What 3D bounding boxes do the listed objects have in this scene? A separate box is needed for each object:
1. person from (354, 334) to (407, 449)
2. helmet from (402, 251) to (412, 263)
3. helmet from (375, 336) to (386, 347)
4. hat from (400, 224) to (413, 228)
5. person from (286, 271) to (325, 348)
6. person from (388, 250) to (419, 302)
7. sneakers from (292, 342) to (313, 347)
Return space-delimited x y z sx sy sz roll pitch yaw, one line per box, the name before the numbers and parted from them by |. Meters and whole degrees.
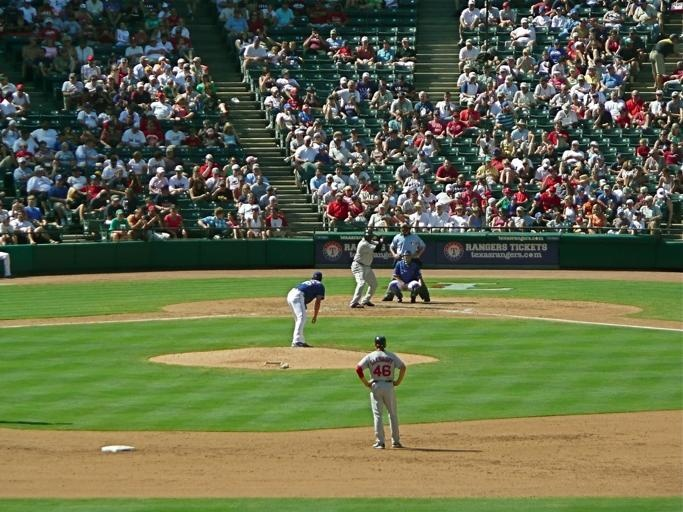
person | 0.968 2.984 38.132 1.016 2.443 0.788 -4 9 -8
helmet | 2.042 0.046 49.625 0.290 0.248 0.381 4 10 37
helmet | 0.952 1.898 37.935 0.194 0.210 0.233 2 -16 -4
hat | 2.053 -0.879 51.892 0.297 0.175 0.346 1 1 -3
person | -0.708 1.406 43.775 0.918 1.829 1.285 -9 10 -33
person | 2.047 0.643 49.731 1.020 1.410 0.850 2 5 17
sneakers | -0.917 2.239 43.878 0.412 0.152 0.134 2 3 -12
